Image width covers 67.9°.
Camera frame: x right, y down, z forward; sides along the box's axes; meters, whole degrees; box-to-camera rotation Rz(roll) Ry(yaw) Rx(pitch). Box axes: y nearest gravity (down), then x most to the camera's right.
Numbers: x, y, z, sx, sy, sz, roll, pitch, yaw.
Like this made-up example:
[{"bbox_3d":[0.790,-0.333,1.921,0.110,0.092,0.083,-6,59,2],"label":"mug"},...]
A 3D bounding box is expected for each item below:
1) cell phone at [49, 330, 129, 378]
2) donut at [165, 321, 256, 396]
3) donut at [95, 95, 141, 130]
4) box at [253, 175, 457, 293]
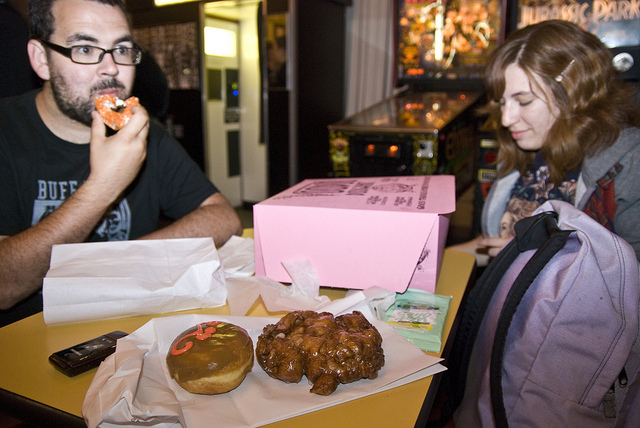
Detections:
[{"bbox_3d":[-0.570,0.342,1.173,0.098,0.037,0.155,13,19,35],"label":"cell phone"},{"bbox_3d":[-0.264,0.335,1.134,0.214,0.116,0.205,-13,18,-23],"label":"donut"},{"bbox_3d":[-0.742,-0.381,1.741,0.135,0.138,0.059,-8,-20,-31],"label":"donut"},{"bbox_3d":[0.110,0.060,1.510,0.589,0.288,0.419,3,18,14],"label":"box"}]
